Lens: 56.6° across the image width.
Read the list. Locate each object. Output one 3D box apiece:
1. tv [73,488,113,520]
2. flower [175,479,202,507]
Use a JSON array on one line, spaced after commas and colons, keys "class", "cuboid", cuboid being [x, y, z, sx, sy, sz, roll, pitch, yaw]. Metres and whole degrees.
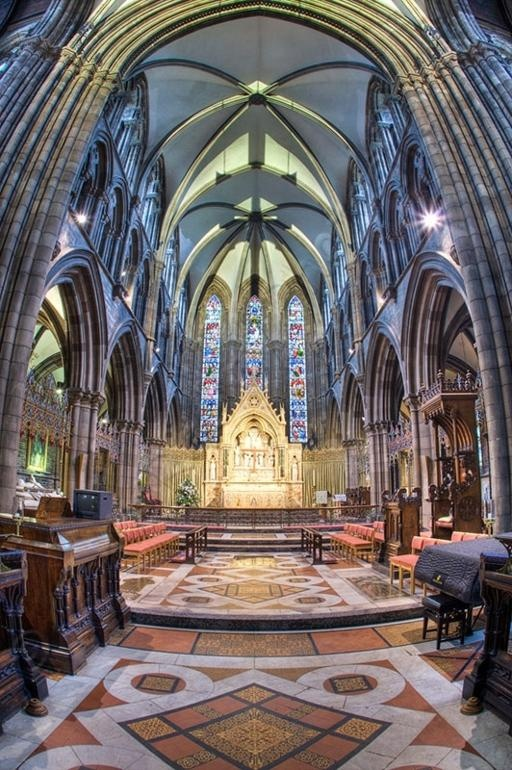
[{"class": "tv", "cuboid": [-2.005, 1.434, 5.735, 0.463, 0.348, 0.548, 2, -11, -11]}, {"class": "flower", "cuboid": [-3.183, 4.916, 21.769, 0.876, 1.112, 1.879, 2, -11, -11]}]
